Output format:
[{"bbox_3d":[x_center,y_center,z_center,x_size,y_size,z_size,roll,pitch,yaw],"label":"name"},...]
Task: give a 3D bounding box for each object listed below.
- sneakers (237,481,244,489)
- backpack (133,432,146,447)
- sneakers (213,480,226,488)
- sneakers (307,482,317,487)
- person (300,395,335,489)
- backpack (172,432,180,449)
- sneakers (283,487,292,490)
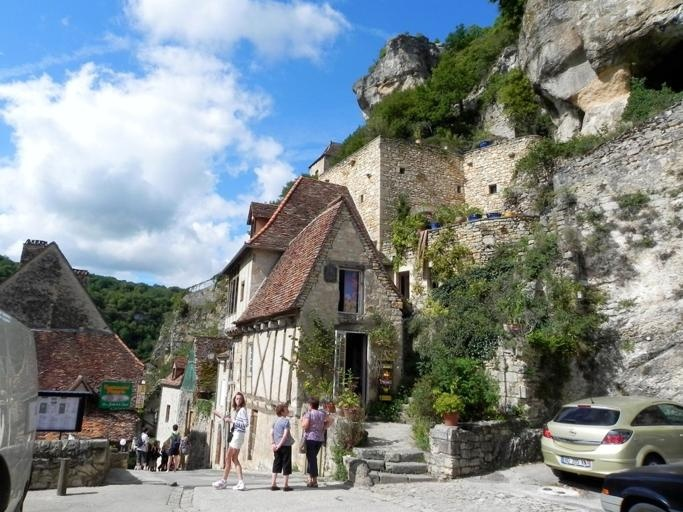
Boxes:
[{"bbox_3d":[-2.410,5.385,13.308,0.208,0.190,0.142,-12,-21,13],"label":"sneakers"},{"bbox_3d":[-8.276,7.623,23.379,0.423,0.619,0.739,9,-24,-26],"label":"backpack"},{"bbox_3d":[-2.936,5.465,13.589,0.309,0.160,0.158,-8,-20,34],"label":"sneakers"},{"bbox_3d":[-0.712,5.476,13.603,0.241,0.150,0.216,0,-22,-5],"label":"sneakers"},{"bbox_3d":[-0.665,4.483,13.683,0.580,2.047,0.786,-1,-20,1],"label":"person"},{"bbox_3d":[-6.496,7.165,22.094,0.273,0.547,0.485,6,-22,-18],"label":"backpack"},{"bbox_3d":[-1.246,5.423,13.226,0.242,0.076,0.155,12,-26,-31],"label":"sneakers"}]
